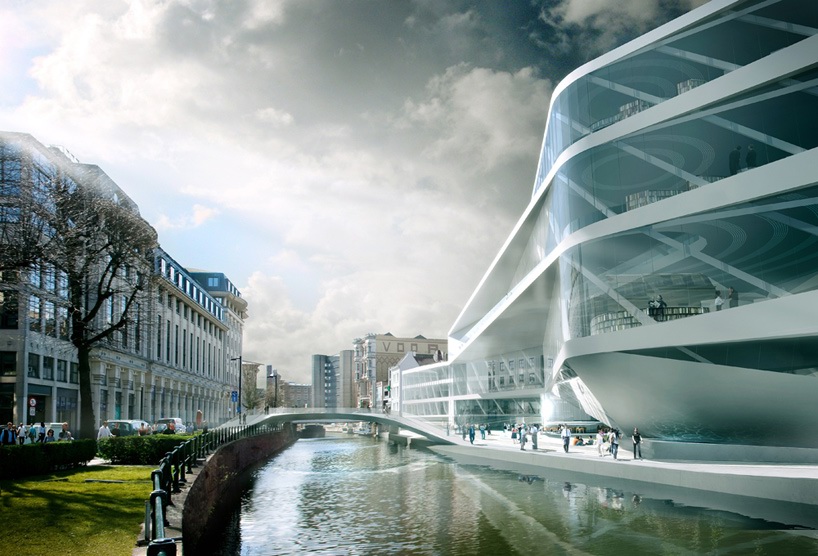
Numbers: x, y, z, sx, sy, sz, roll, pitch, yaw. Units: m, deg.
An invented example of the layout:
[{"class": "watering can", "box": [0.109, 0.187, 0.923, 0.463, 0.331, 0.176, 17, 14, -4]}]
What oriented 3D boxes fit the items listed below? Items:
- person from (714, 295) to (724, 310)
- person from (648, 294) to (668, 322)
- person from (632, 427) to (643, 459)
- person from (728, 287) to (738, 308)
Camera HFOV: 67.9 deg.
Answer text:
[{"class": "person", "box": [14.708, 1.131, 29.027, 0.474, 0.744, 0.574, -5, -9, 18]}, {"class": "person", "box": [12.422, 1.509, 30.577, 0.672, 1.365, 1.006, 0, -9, -15]}, {"class": "person", "box": [12.417, 9.044, 33.228, 0.456, 1.474, 1.489, -5, -9, 19]}, {"class": "person", "box": [15.322, 0.855, 28.841, 0.427, 0.999, 0.918, -7, -10, 28]}]
